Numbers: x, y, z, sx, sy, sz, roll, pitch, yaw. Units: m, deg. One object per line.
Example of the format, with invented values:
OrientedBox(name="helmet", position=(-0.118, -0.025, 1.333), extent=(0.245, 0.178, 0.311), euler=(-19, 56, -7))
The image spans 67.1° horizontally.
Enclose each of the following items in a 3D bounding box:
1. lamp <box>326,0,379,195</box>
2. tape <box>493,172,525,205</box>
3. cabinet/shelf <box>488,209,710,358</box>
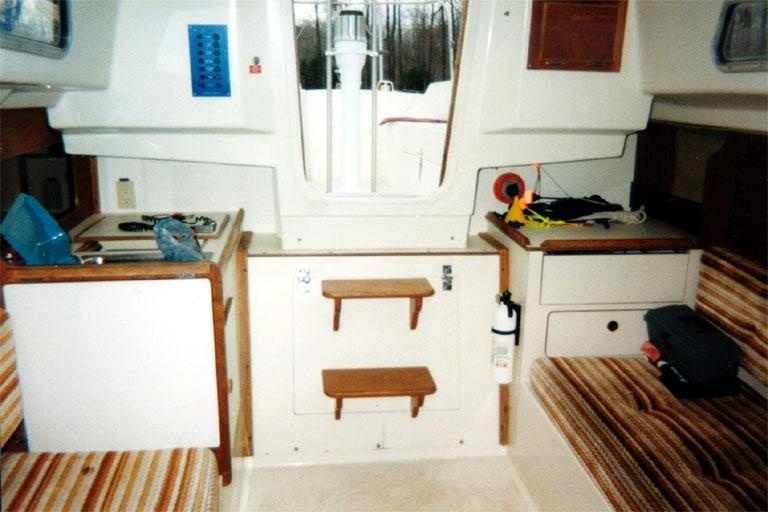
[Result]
OrientedBox(name="lamp", position=(-0.178, -0.834, 3.128), extent=(0.291, 0.975, 0.485), euler=(-2, 20, -4))
OrientedBox(name="tape", position=(0.716, -0.378, 3.406), extent=(0.145, 0.214, 0.188), euler=(-10, 22, -25))
OrientedBox(name="cabinet/shelf", position=(1.188, 0.212, 3.259), extent=(0.906, 0.645, 0.513), euler=(-1, 7, -2))
